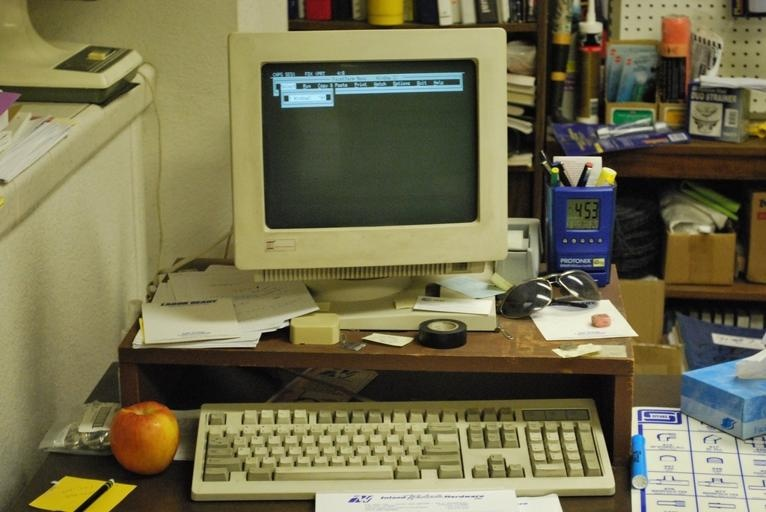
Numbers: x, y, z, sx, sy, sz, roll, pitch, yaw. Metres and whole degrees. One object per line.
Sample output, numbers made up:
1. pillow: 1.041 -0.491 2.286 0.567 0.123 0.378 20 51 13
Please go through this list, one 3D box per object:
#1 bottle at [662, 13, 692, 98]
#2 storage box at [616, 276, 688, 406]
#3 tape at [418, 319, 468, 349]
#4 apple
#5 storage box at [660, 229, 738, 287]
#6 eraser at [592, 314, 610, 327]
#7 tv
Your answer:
1. bottle: 1.147 -0.778 2.751 0.110 0.323 0.109 -4 22 2
2. storage box: 0.797 0.241 2.077 0.250 0.331 0.239 0 17 3
3. tape: 0.121 0.162 1.442 0.102 0.037 0.068 -2 22 4
4. apple: -0.474 0.365 1.395 0.133 0.123 0.133 5 10 33
5. storage box: 1.272 -0.009 2.857 0.343 0.200 0.343 4 12 31
6. eraser: 0.459 0.138 1.473 0.025 0.022 0.032 1 11 9
7. tv: -0.045 -0.177 1.612 0.595 0.609 0.350 -2 7 -7
